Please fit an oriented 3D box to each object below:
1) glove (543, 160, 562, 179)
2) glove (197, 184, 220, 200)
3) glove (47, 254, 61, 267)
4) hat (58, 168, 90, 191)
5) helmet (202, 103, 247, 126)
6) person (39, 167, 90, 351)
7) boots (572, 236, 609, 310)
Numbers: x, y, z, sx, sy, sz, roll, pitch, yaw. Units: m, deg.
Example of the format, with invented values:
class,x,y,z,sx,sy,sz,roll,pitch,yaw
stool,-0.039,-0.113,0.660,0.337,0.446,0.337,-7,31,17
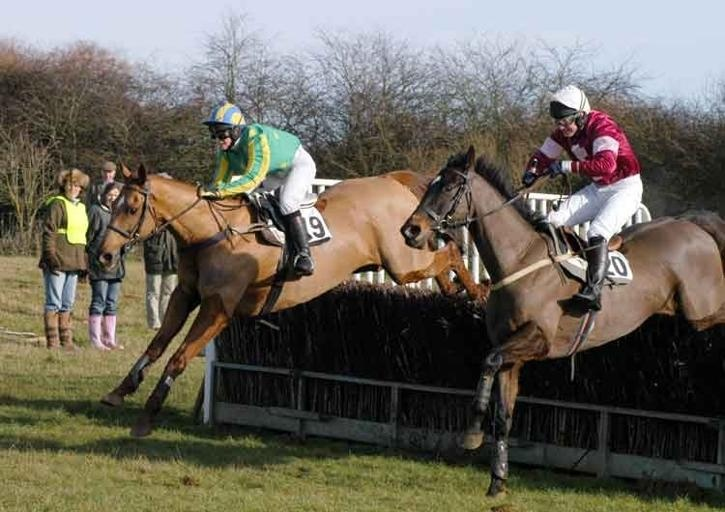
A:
class,x,y,z,sx,sy,sz,roll,pitch,yaw
glove,2.010,-0.930,12.651,0.107,0.193,0.144,52,-5,-32
glove,-1.726,-0.710,13.195,0.188,0.095,0.136,9,-3,-37
glove,-4.308,0.093,16.487,0.099,0.177,0.213,1,-7,37
hat,-4.119,-1.084,16.814,0.416,0.338,0.456,7,-6,-16
helmet,-1.567,-1.627,13.404,0.358,0.242,0.256,6,-4,-25
person,-4.231,0.054,16.793,0.626,2.548,0.865,5,-6,7
boots,2.377,0.175,12.342,0.264,0.779,0.292,2,-7,28
